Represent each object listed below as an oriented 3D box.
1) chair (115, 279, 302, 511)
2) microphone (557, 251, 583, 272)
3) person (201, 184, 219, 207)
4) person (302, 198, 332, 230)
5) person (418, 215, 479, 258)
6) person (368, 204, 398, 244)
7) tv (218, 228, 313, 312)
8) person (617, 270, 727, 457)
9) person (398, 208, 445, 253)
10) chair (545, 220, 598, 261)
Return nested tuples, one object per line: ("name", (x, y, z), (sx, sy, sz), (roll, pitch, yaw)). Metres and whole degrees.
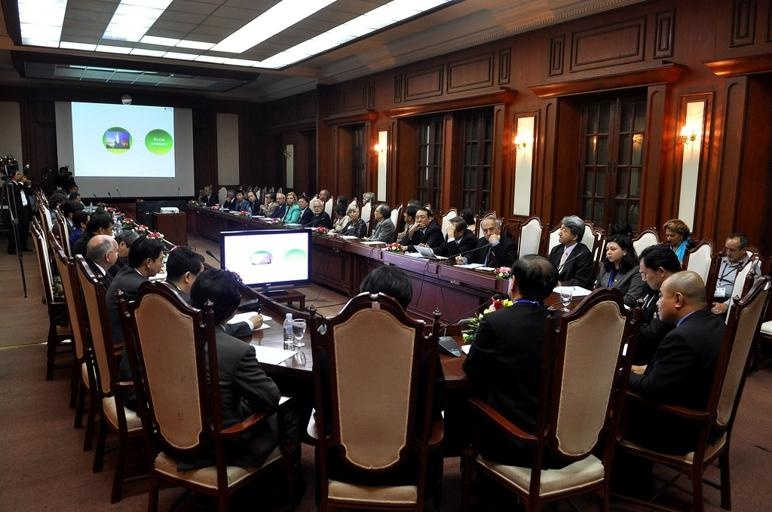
("chair", (-1.032, 0.800, 3.092), (0.921, 1.404, 0.449), (5, 9, 19))
("microphone", (1.904, 0.050, 5.557), (0.302, 0.302, 0.214), (3, -1, 10))
("person", (-4.773, -1.596, 14.233), (0.407, 0.442, 0.951), (-1, 9, -24))
("person", (-1.252, -0.748, 9.628), (0.499, 0.651, 0.716), (0, 1, 0))
("person", (0.725, -0.213, 6.548), (0.773, 0.549, 0.572), (15, -8, 10))
("person", (-0.080, -0.289, 7.803), (0.403, 0.891, 0.472), (0, 11, -8))
("tv", (-1.048, 0.111, 4.603), (0.731, 0.733, 0.363), (-1, 2, -23))
("person", (1.768, 0.636, 3.225), (0.531, 1.055, 0.368), (5, 9, 16))
("person", (0.498, -0.271, 7.161), (0.597, 0.713, 0.754), (-1, 6, 32))
("chair", (2.092, -0.177, 5.949), (0.380, 0.681, 0.375), (1, 2, -21))
